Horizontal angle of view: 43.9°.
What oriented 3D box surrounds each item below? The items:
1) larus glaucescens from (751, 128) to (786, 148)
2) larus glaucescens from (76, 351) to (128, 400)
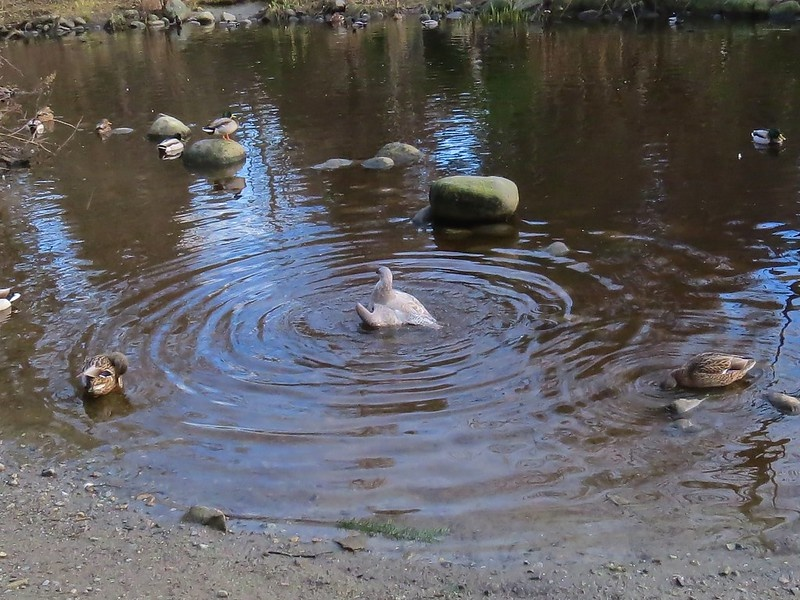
[{"bbox_3d":[8.887,-3.909,24.012,0.827,0.418,0.445,16,46,10],"label":"larus glaucescens"},{"bbox_3d":[-4.549,1.162,15.310,0.736,0.306,0.730,-4,29,8],"label":"larus glaucescens"}]
